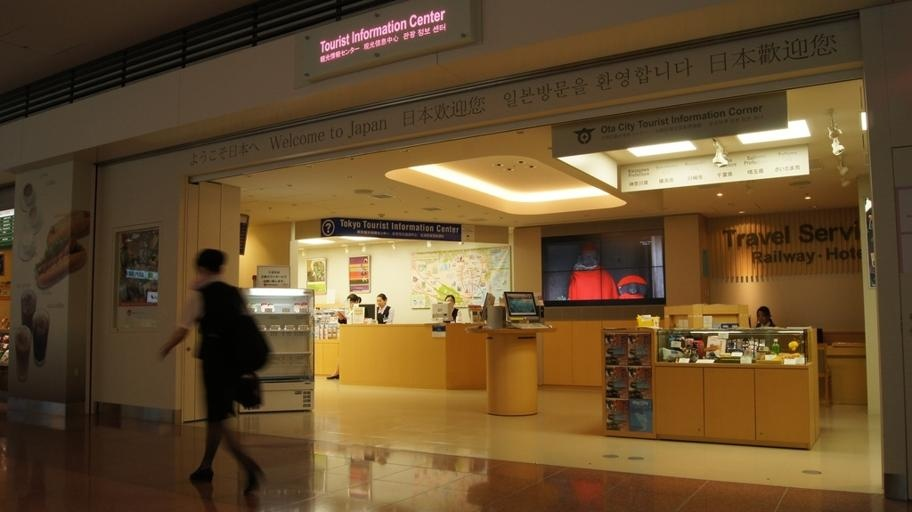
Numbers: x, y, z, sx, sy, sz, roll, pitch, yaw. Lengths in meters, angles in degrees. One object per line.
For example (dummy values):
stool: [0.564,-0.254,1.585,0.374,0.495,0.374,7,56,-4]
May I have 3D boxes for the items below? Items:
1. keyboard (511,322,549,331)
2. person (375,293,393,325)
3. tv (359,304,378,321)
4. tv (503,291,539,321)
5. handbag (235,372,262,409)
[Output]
keyboard: [1.469,1.395,12.719,0.760,0.111,0.496,0,1,-2]
person: [-1.993,1.435,17.782,0.381,0.732,0.882,-1,1,-1]
tv: [-2.570,1.551,18.620,0.656,0.547,0.349,1,3,10]
tv: [1.333,1.002,13.164,0.719,0.577,0.197,7,-23,-26]
handbag: [-2.765,1.813,8.772,0.279,0.518,0.428,0,1,16]
